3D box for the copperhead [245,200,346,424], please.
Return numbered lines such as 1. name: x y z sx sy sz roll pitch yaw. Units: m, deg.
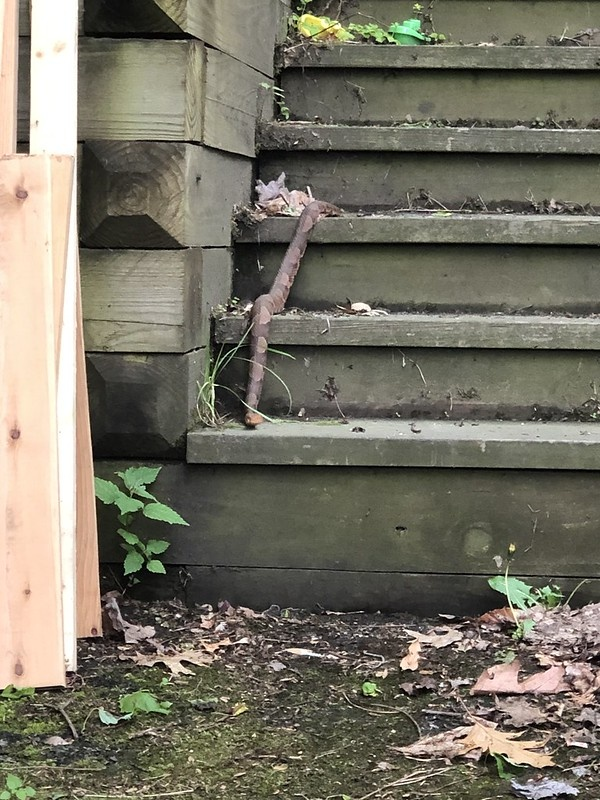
1. copperhead: -0.037 -0.266 4.180 0.158 0.667 0.525 5 3 15
